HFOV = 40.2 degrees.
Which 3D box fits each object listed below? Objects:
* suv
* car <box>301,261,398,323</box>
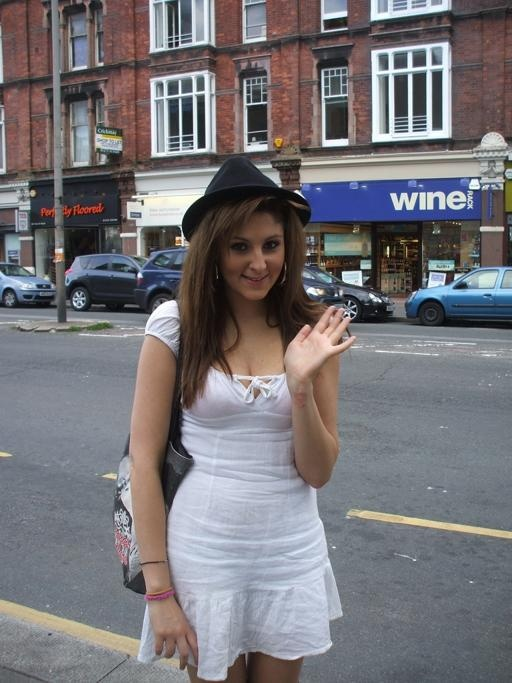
[{"bbox_3d":[-5.067,-2.061,22.956,3.076,1.570,1.609,0,4,18],"label":"suv"},{"bbox_3d":[2.836,-1.341,19.146,3.244,1.157,1.393,1,8,7],"label":"car"}]
